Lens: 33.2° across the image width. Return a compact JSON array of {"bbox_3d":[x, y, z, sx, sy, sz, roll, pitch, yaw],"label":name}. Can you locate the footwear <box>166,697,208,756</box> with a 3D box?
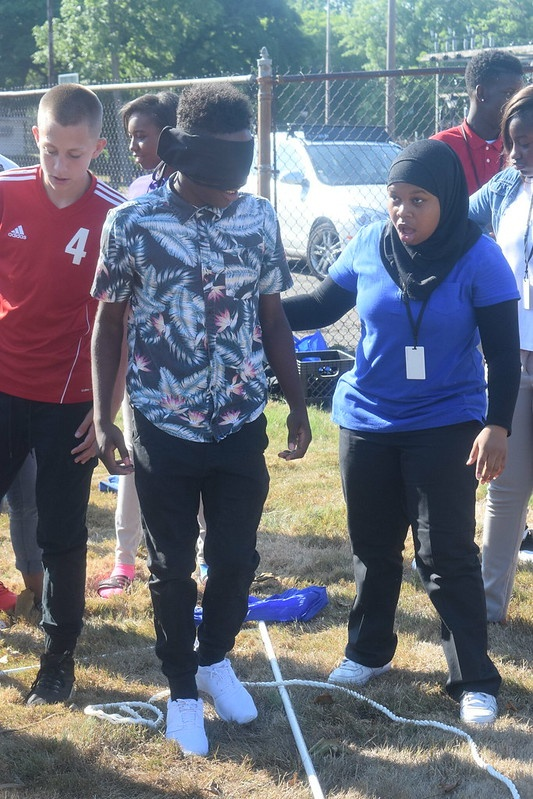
[{"bbox_3d":[-0.221,0.905,2.482,0.078,0.074,0.186,-3,34,-10],"label":"footwear"}]

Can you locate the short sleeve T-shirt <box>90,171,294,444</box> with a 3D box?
[{"bbox_3d":[-0.180,-0.239,2.437,0.568,0.687,0.227,-3,10,-15],"label":"short sleeve T-shirt"}]

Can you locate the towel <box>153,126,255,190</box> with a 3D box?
[{"bbox_3d":[-0.155,-0.617,2.337,0.167,0.101,0.207,-13,32,-43],"label":"towel"}]

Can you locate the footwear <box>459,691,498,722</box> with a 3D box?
[{"bbox_3d":[0.645,0.934,2.716,0.081,0.035,0.095,1,17,13],"label":"footwear"}]

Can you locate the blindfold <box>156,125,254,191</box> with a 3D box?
[{"bbox_3d":[-0.159,-0.626,2.338,0.167,0.101,0.208,-12,31,-42],"label":"blindfold"}]

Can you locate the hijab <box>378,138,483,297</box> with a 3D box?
[{"bbox_3d":[0.494,-0.539,2.689,0.298,0.474,0.206,0,9,5],"label":"hijab"}]

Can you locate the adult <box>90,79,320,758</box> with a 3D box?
[{"bbox_3d":[-0.177,0.068,2.495,0.628,1.760,0.447,-2,6,-20],"label":"adult"}]
